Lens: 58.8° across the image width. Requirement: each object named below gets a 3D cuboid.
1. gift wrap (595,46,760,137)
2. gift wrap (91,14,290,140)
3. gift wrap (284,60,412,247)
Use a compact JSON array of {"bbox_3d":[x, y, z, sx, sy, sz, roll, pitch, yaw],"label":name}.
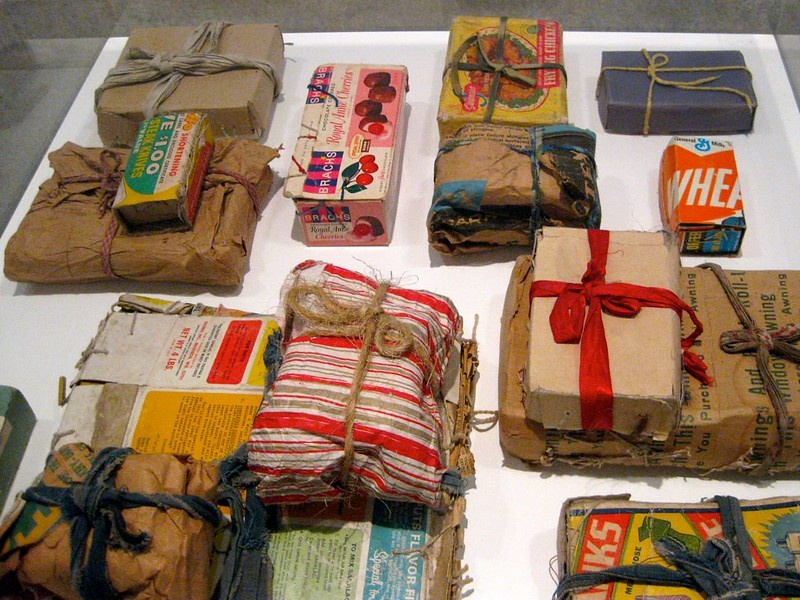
[{"bbox_3d":[1.340,-0.986,3.467,0.603,0.211,0.435,2,60,4],"label":"gift wrap"},{"bbox_3d":[-1.069,-1.140,3.609,0.769,0.298,0.745,-1,51,1],"label":"gift wrap"},{"bbox_3d":[-0.171,-0.565,3.517,0.699,0.424,1.194,0,61,2],"label":"gift wrap"}]
